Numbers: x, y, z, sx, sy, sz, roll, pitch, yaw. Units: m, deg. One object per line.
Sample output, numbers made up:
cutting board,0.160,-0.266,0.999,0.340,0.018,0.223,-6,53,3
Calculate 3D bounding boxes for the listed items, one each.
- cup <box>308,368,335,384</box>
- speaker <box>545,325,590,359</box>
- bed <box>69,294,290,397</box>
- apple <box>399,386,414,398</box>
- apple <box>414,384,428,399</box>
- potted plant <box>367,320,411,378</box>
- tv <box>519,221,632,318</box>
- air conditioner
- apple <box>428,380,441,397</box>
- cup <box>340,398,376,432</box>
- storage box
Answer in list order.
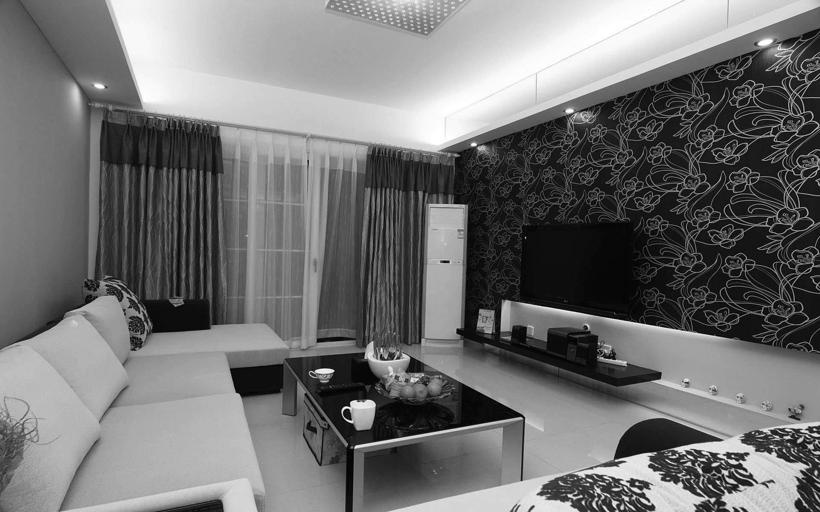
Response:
cup,-0.759,1.027,4.405,0.165,0.071,0.118,-5,-2,8
speaker,1.696,0.918,5.568,0.322,0.236,0.324,0,1,-27
bed,-2.091,0.889,5.075,1.451,0.888,1.065,-1,5,-25
apple,-0.021,1.065,4.044,0.086,0.103,0.086,2,8,-38
apple,0.081,1.057,3.990,0.109,0.131,0.105,13,-33,-23
potted plant,-0.202,0.867,4.567,0.253,0.313,0.572,1,-3,-8
tv,1.863,0.115,5.836,0.213,1.011,1.408,-3,5,-35
air conditioner,0.488,0.257,7.176,0.590,1.969,0.217,0,4,2
apple,0.195,1.032,4.017,0.099,0.118,0.102,5,6,20
cup,-0.396,1.160,3.772,0.264,0.187,0.173,-1,4,-15
storage box,-0.583,1.426,4.387,0.583,0.478,0.713,0,12,-24
